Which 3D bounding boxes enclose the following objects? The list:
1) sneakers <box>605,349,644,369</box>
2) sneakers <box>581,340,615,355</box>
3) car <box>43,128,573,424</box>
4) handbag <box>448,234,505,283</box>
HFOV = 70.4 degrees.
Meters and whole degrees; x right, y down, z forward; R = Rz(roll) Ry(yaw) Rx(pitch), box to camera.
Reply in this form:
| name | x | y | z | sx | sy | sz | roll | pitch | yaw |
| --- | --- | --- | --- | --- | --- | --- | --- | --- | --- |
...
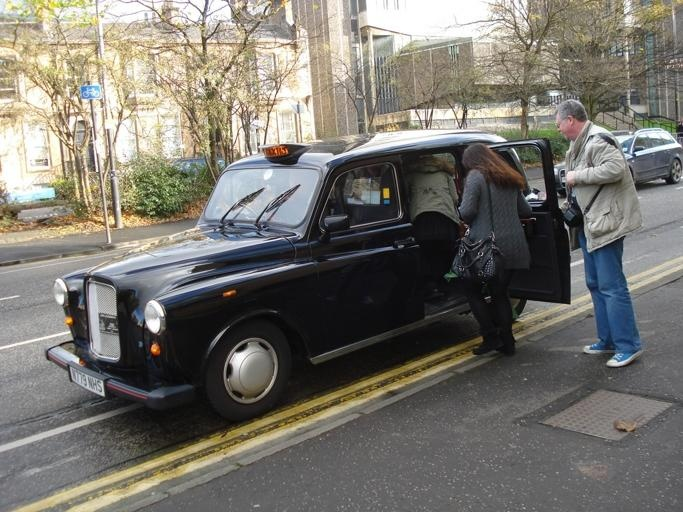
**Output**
| name | x | y | z | sx | sy | sz | roll | pitch | yaw |
| --- | --- | --- | --- | --- | --- | --- | --- | --- | --- |
| sneakers | 2.687 | 0.982 | 4.604 | 0.390 | 0.141 | 0.135 | -15 | -10 | -19 |
| sneakers | 2.591 | 0.939 | 4.938 | 0.322 | 0.126 | 0.112 | 2 | 4 | 18 |
| car | -0.615 | 0.090 | 4.597 | 3.725 | 2.305 | 1.420 | -11 | 12 | -31 |
| handbag | 1.332 | 0.037 | 4.719 | 0.537 | 0.467 | 0.267 | 0 | -3 | 38 |
